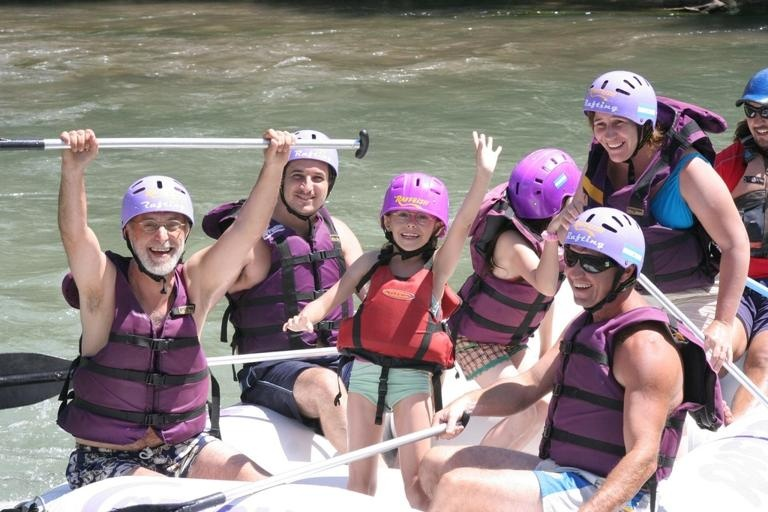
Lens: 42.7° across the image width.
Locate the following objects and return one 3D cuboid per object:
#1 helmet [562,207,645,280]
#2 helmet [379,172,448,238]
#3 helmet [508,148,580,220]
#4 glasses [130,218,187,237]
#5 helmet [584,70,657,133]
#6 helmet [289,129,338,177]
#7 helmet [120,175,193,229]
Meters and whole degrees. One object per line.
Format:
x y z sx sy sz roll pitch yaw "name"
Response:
1.564 -0.152 6.665 0.440 0.505 0.418 -30 24 -32 "helmet"
0.254 -0.375 7.569 0.396 0.488 0.387 9 56 5 "helmet"
1.291 -0.570 7.850 0.659 0.476 0.467 -21 14 -37 "helmet"
-1.616 -0.211 7.047 0.243 0.138 0.057 2 33 -13 "glasses"
1.930 -1.154 7.653 0.527 0.390 0.401 37 -15 -27 "helmet"
-0.580 -0.870 8.208 0.331 0.404 0.342 5 7 -3 "helmet"
-1.636 -0.459 7.116 0.365 0.453 0.346 3 29 -18 "helmet"
